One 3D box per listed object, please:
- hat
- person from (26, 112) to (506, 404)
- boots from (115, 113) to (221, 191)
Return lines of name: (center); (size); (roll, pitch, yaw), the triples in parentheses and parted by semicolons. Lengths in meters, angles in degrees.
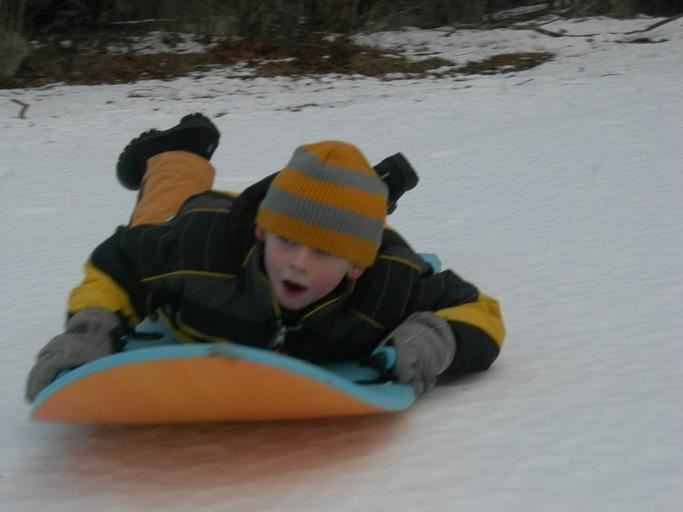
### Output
hat: (0.012, -0.202, 2.685); (0.432, 0.278, 0.436); (22, 15, 30)
person: (-0.204, -0.124, 3.101); (1.617, 0.699, 1.688); (12, 34, -5)
boots: (-0.768, -0.475, 3.655); (0.587, 0.238, 0.199); (-19, 36, -11)
